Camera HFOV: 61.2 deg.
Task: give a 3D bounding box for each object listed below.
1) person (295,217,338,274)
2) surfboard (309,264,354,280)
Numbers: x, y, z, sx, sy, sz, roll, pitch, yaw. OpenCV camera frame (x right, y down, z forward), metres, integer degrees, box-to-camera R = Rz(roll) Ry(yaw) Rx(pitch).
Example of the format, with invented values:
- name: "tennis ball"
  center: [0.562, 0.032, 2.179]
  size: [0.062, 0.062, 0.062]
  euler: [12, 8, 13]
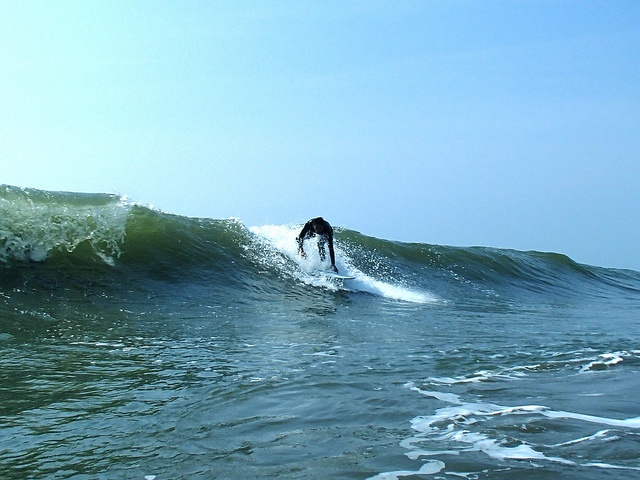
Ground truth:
- name: "person"
  center: [-0.013, 0.083, 11.529]
  size: [0.784, 1.188, 1.046]
  euler: [-4, 11, -26]
- name: "surfboard"
  center: [0.235, 0.673, 11.340]
  size: [0.291, 0.122, 1.161]
  euler: [-12, 17, -37]
